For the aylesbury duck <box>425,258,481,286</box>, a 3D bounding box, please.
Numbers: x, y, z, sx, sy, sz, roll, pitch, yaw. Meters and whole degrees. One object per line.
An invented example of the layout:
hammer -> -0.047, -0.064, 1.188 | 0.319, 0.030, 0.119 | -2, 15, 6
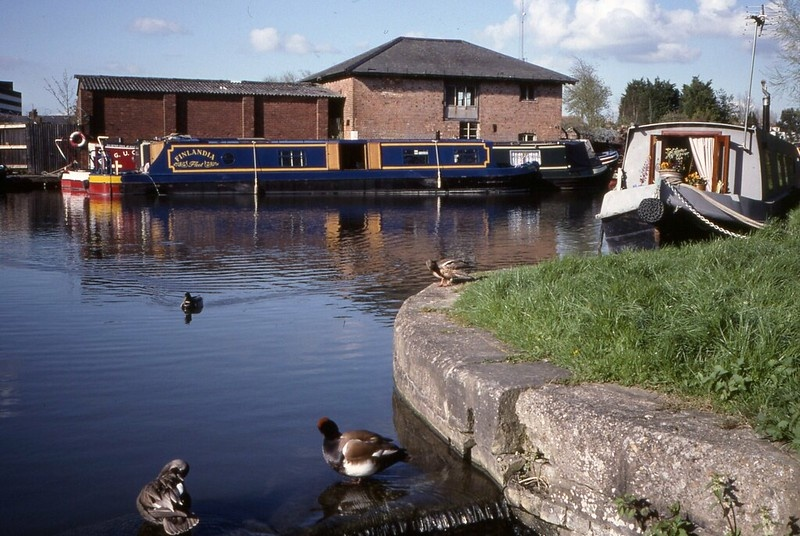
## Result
aylesbury duck -> 0.744, 0.029, 10.303 | 0.273, 0.425, 0.806 | 2, 11, 43

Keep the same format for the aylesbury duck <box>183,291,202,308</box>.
aylesbury duck -> -2.785, 0.428, 10.712 | 0.217, 0.155, 0.221 | 4, 5, 11

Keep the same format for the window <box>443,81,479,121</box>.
window -> 3.249, -9.082, 43.205 | 2.037, 2.060, 0.161 | -5, 11, -19

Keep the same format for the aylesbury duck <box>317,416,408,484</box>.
aylesbury duck -> -0.271, 1.451, 6.441 | 0.740, 0.497, 0.406 | -6, 8, -11
